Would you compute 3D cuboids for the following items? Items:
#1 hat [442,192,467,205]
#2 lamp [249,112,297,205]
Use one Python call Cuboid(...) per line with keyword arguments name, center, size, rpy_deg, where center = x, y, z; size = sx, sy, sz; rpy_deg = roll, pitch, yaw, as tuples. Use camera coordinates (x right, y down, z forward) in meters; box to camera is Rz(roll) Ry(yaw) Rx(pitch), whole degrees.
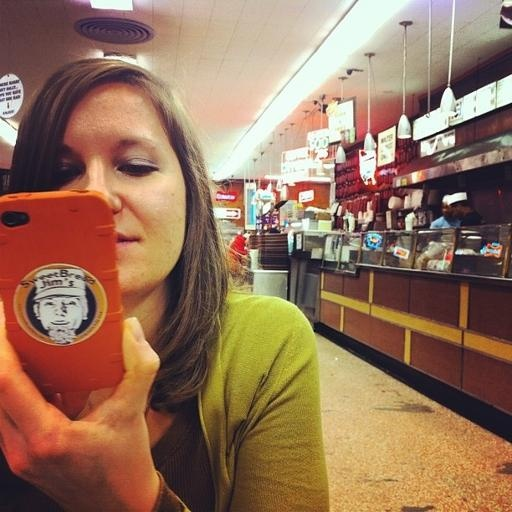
Cuboid(name="hat", center=(2.164, -0.617, 5.000), size=(0.218, 0.095, 0.207), rpy_deg=(-4, 8, -1))
Cuboid(name="lamp", center=(0.551, -2.969, 13.367), size=(1.354, 0.640, 3.111), rpy_deg=(6, -38, -9))
